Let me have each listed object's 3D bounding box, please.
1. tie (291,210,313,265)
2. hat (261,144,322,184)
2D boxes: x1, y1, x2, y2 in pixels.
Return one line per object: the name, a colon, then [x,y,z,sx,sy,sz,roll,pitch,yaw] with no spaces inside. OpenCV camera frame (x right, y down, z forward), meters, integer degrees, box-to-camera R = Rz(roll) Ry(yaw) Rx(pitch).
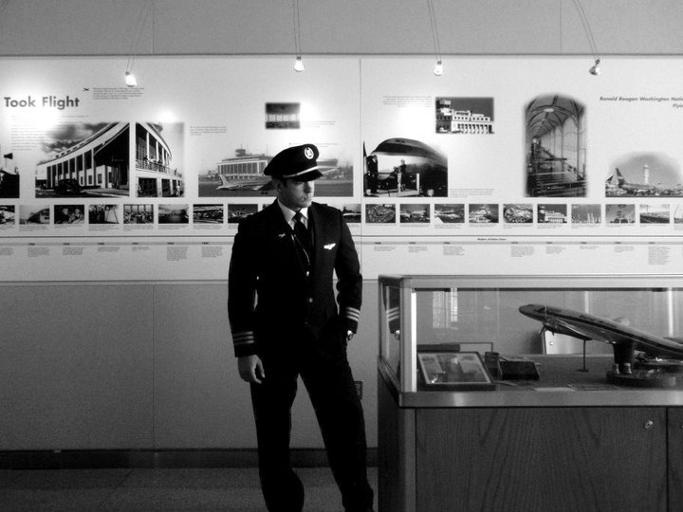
tie: [-0.216,-0.091,4.498,0.129,0.262,0.058,-9,-2,0]
hat: [-0.263,-0.526,4.494,0.222,0.127,0.247,-10,11,-38]
